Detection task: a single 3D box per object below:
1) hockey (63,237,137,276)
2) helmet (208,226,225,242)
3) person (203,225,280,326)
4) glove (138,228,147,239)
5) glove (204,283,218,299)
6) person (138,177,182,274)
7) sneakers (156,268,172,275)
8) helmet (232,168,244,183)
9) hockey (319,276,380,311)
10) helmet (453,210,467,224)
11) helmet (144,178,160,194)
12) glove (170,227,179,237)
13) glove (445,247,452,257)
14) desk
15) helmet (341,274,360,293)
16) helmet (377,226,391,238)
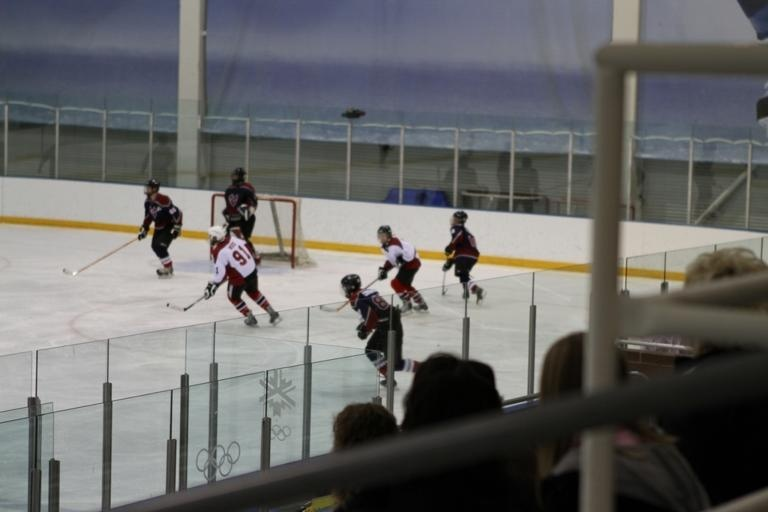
[{"bbox_3d":[-3.970,0.045,15.155,1.264,0.225,0.104,-25,7,-3],"label":"hockey"},{"bbox_3d":[-1.842,-0.243,12.091,0.252,0.190,0.178,8,0,-11],"label":"helmet"},{"bbox_3d":[-1.586,0.203,11.666,0.606,0.938,1.043,0,7,-11],"label":"person"},{"bbox_3d":[-3.283,-0.301,14.907,0.084,0.225,0.110,12,7,-18],"label":"glove"},{"bbox_3d":[-1.870,0.369,11.889,0.137,0.187,0.071,11,-17,15],"label":"glove"},{"bbox_3d":[-2.991,-0.399,14.653,0.555,1.223,1.254,0,7,-12],"label":"person"},{"bbox_3d":[-2.843,0.220,14.190,0.167,0.094,0.095,1,19,5],"label":"sneakers"},{"bbox_3d":[-1.987,-1.106,15.026,0.176,0.182,0.322,1,6,-7],"label":"helmet"},{"bbox_3d":[-0.294,0.365,8.891,0.165,0.078,0.930,38,27,13],"label":"hockey"},{"bbox_3d":[0.918,-0.454,12.818,0.196,0.158,0.145,6,4,-8],"label":"helmet"},{"bbox_3d":[-3.142,-0.929,14.600,0.260,0.218,0.187,7,8,1],"label":"helmet"},{"bbox_3d":[-2.802,-0.314,14.708,0.111,0.093,0.123,1,-1,-9],"label":"glove"},{"bbox_3d":[0.750,-0.058,12.737,0.093,0.099,0.110,1,-10,-2],"label":"glove"},{"bbox_3d":[1.363,-0.814,16.097,3.121,0.286,0.447,5,7,30],"label":"desk"},{"bbox_3d":[-0.304,0.251,9.983,0.184,0.149,0.144,3,-2,8],"label":"helmet"},{"bbox_3d":[-0.014,-0.271,12.229,0.137,0.146,0.166,-9,-25,13],"label":"helmet"}]
